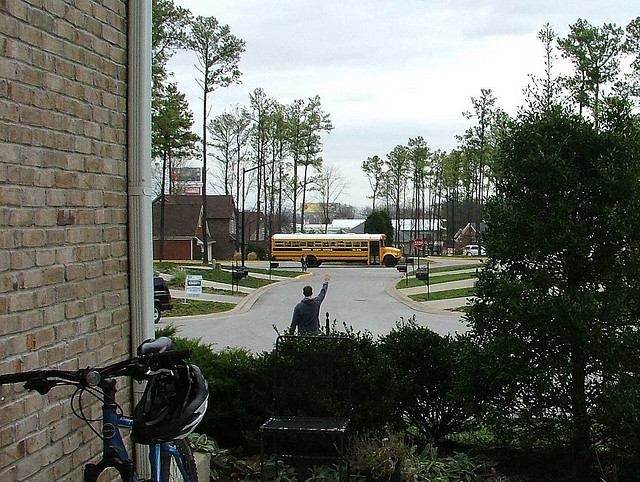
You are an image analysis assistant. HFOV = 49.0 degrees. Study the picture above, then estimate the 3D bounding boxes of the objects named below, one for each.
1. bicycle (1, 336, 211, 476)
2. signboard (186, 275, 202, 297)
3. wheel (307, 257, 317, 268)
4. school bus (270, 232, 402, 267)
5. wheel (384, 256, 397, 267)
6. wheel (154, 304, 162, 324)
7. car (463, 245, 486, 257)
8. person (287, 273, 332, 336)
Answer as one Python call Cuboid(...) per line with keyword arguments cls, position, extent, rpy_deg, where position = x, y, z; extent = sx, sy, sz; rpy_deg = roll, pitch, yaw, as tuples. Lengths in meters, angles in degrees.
Cuboid(cls="bicycle", position=(-1.107, 1.065, 4.893), extent=(1.058, 0.976, 1.435), rpy_deg=(-5, -11, 18))
Cuboid(cls="signboard", position=(-4.213, 1.472, 23.403), extent=(0.646, 1.027, 0.543), rpy_deg=(1, -10, -8))
Cuboid(cls="wheel", position=(-0.699, 1.685, 55.451), extent=(0.652, 0.786, 0.252), rpy_deg=(2, 12, 13))
Cuboid(cls="school bus", position=(2.353, 0.782, 59.309), extent=(8.992, 2.724, 2.389), rpy_deg=(0, 0, 20))
Cuboid(cls="wheel", position=(5.569, 1.661, 55.443), extent=(0.971, 0.857, 0.678), rpy_deg=(12, 0, 15))
Cuboid(cls="wheel", position=(-4.808, 2.163, 20.662), extent=(0.138, 0.584, 0.858), rpy_deg=(9, 0, -8))
Cuboid(cls="car", position=(13.658, 1.020, 62.792), extent=(1.820, 1.056, 1.148), rpy_deg=(2, 0, -10))
Cuboid(cls="person", position=(-0.156, 1.400, 12.046), extent=(0.729, 1.648, 0.358), rpy_deg=(-8, 25, -20))
